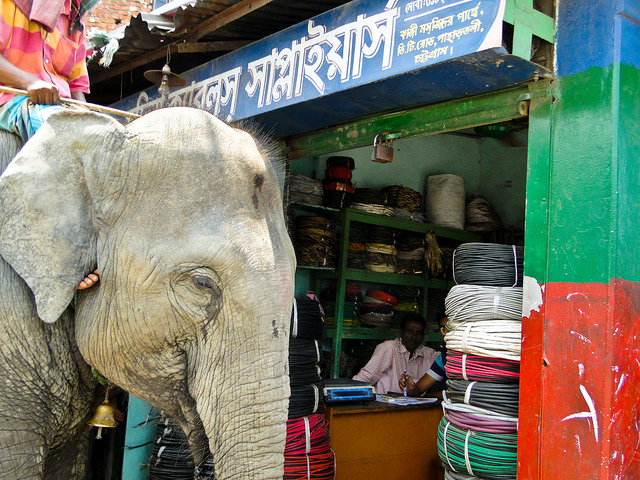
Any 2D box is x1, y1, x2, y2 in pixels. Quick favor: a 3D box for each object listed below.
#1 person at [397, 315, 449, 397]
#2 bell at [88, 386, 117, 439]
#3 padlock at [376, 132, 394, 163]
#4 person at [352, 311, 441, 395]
[{"bbox_3d":[1.075,1.073,6.187,0.688,0.889,0.308,1,-2,16],"label":"person"},{"bbox_3d":[-0.977,0.764,2.791,0.124,0.242,0.124,-4,-17,36],"label":"bell"},{"bbox_3d":[0.448,-0.605,4.207,0.096,0.180,0.230,1,-8,17],"label":"padlock"},{"bbox_3d":[0.791,1.236,6.727,0.718,0.885,0.303,9,-11,-15],"label":"person"}]
